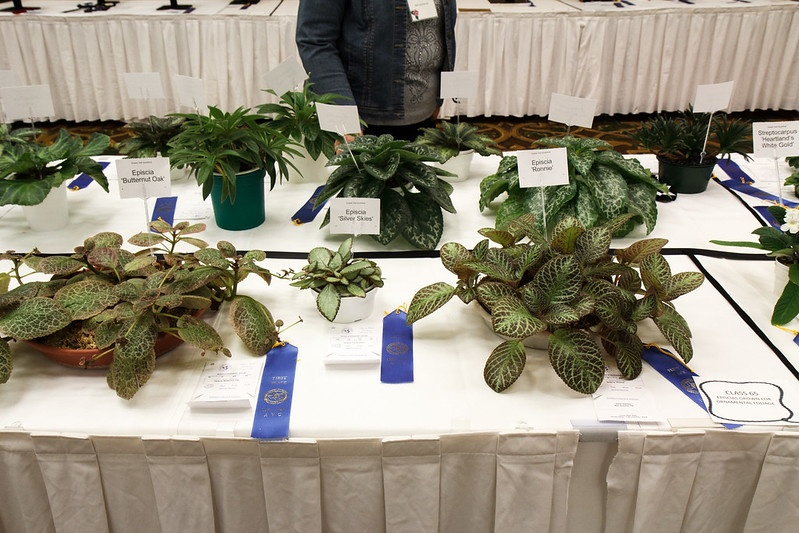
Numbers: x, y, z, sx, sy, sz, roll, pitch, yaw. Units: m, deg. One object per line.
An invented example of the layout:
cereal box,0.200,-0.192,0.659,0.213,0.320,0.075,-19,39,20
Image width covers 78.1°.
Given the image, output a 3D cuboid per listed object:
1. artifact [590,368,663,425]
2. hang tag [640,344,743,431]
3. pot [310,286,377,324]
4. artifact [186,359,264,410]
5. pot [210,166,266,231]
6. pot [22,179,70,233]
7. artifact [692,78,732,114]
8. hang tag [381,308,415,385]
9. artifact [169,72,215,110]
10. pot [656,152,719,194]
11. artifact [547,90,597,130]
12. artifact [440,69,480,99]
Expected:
artifact,0.632,0.370,1.407,0.179,0.059,0.152,2,28,3
hang tag,0.816,0.319,1.439,0.101,0.043,0.350,-11,32,-12
pot,-0.159,0.123,1.553,0.143,0.067,0.141,-1,32,1
artifact,-0.502,0.344,1.441,0.178,0.062,0.157,0,28,-1
pot,-0.638,-0.273,2.036,0.247,0.192,0.235,0,35,0
pot,-1.443,-0.252,2.108,0.196,0.160,0.208,4,32,-2
artifact,1.346,-0.723,2.139,0.134,0.147,0.255,16,32,26
hang tag,-0.008,0.235,1.536,0.103,0.301,0.018,-3,25,-5
artifact,-0.923,-0.753,2.185,0.111,0.190,0.421,-10,30,-19
pot,1.271,-0.399,2.210,0.188,0.107,0.187,-1,32,0
artifact,0.702,-0.633,2.038,0.164,0.153,0.229,8,29,14
artifact,0.263,-0.840,2.271,0.155,0.118,0.132,2,28,3
